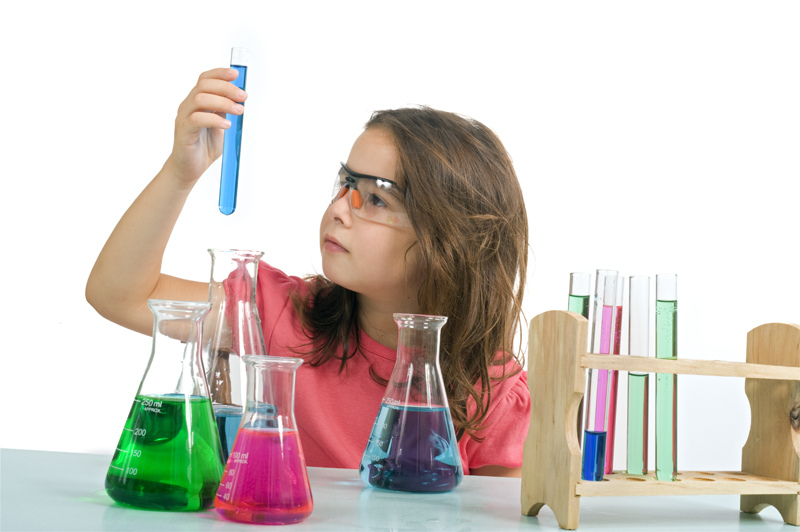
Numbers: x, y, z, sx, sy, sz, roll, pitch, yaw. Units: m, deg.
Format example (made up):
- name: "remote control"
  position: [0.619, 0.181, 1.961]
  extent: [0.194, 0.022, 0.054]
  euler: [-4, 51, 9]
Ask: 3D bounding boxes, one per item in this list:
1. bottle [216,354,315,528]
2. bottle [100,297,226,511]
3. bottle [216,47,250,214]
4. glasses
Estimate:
- name: "bottle"
  position: [-0.232, 0.301, 1.293]
  extent: [0.168, 0.290, 0.081]
  euler: [4, -4, -8]
- name: "bottle"
  position: [-0.401, 0.245, 1.304]
  extent: [0.184, 0.367, 0.078]
  euler: [4, -4, -17]
- name: "bottle"
  position: [-0.385, -0.305, 1.705]
  extent: [0.046, 0.389, 0.116]
  euler: [4, -4, -12]
- name: "glasses"
  position: [-0.082, -0.189, 1.990]
  extent: [0.230, 0.170, 0.100]
  euler: [3, -4, 9]
